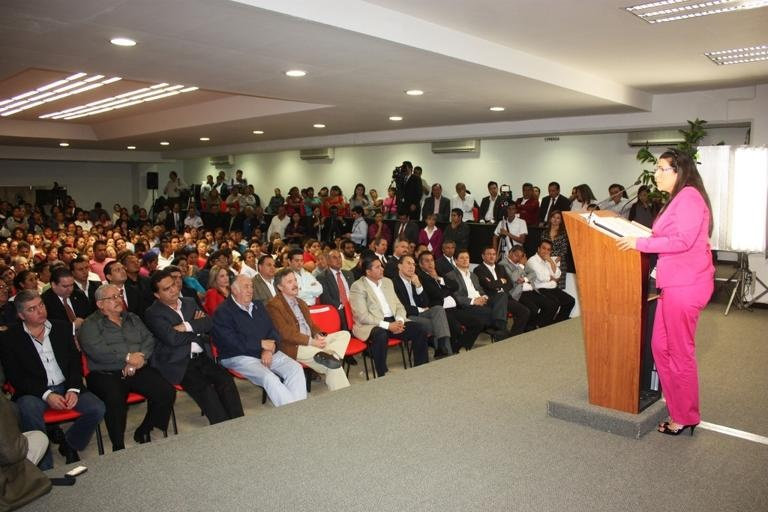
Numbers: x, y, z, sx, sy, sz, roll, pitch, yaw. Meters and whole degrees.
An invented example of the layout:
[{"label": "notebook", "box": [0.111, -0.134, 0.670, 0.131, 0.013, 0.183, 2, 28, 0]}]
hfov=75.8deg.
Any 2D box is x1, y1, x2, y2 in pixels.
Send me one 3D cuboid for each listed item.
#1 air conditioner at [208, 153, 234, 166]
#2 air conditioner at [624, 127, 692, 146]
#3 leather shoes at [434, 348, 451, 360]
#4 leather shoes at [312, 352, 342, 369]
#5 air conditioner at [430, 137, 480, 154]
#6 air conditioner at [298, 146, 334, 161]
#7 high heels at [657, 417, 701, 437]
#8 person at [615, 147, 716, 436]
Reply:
[{"label": "air conditioner", "box": [-6.198, -3.652, 18.868, 1.151, 0.329, 0.419, 0, 4, 31]}, {"label": "air conditioner", "box": [5.827, -2.532, 10.626, 0.661, 0.330, 1.352, -1, 12, -6]}, {"label": "leather shoes", "box": [0.758, 1.319, 6.550, 0.165, 0.153, 0.050, 2, 4, 41]}, {"label": "leather shoes", "box": [-0.611, 1.126, 5.370, 0.277, 0.082, 0.153, 15, 32, 30]}, {"label": "air conditioner", "box": [1.968, -2.948, 13.396, 0.810, 0.363, 1.456, -9, 16, -37]}, {"label": "air conditioner", "box": [-2.203, -3.327, 16.143, 1.127, 0.563, 0.749, -1, 1, 16]}, {"label": "high heels", "box": [2.346, 1.381, 3.910, 0.254, 0.114, 0.135, 4, 0, 12]}, {"label": "person", "box": [2.218, 0.326, 3.806, 0.721, 2.234, 0.579, -11, 17, -42]}]
